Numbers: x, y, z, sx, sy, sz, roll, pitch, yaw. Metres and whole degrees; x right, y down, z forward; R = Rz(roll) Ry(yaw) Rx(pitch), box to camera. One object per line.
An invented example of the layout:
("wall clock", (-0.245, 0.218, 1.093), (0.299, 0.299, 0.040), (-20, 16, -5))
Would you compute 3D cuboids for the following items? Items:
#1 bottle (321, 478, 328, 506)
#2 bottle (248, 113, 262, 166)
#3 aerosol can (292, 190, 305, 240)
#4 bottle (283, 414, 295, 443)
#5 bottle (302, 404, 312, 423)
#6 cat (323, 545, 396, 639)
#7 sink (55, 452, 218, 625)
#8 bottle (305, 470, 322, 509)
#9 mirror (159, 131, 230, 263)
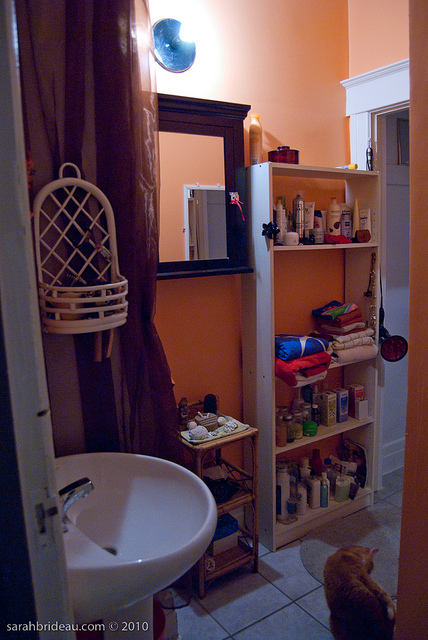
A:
("bottle", (0.486, 0.756, 2.156), (0.040, 0.129, 0.022), (-3, 6, -30))
("bottle", (0.158, -0.702, 1.918), (0.049, 0.201, 0.094), (0, 5, 3))
("aerosol can", (0.360, -0.453, 2.110), (0.054, 0.227, 0.146), (0, 5, 10))
("bottle", (0.304, 0.455, 2.039), (0.037, 0.119, 0.122), (2, 7, 28))
("bottle", (0.414, 0.425, 2.189), (0.048, 0.112, 0.055), (0, -3, -11))
("cat", (0.396, 0.791, 1.388), (0.164, 0.165, 0.320), (0, 7, 8))
("sink", (-0.159, 0.440, 1.045), (0.366, 0.173, 0.359), (8, 10, -26))
("bottle", (0.435, 0.748, 2.151), (0.066, 0.161, 0.051), (-2, 5, -18))
("mirror", (-0.081, -0.446, 1.750), (0.041, 0.743, 0.367), (3, 6, 45))
